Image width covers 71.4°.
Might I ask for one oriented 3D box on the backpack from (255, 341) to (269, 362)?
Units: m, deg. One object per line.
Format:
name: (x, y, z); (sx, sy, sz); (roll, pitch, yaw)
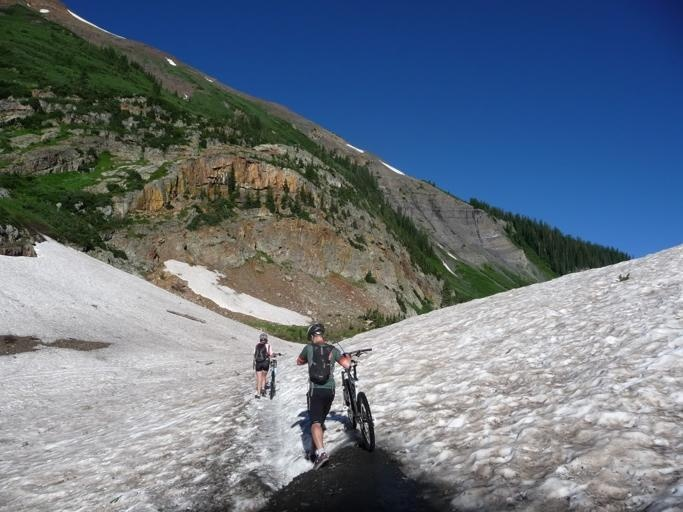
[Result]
backpack: (-2.980, 3.601, 17.816); (0.627, 0.815, 0.426); (2, -34, -3)
